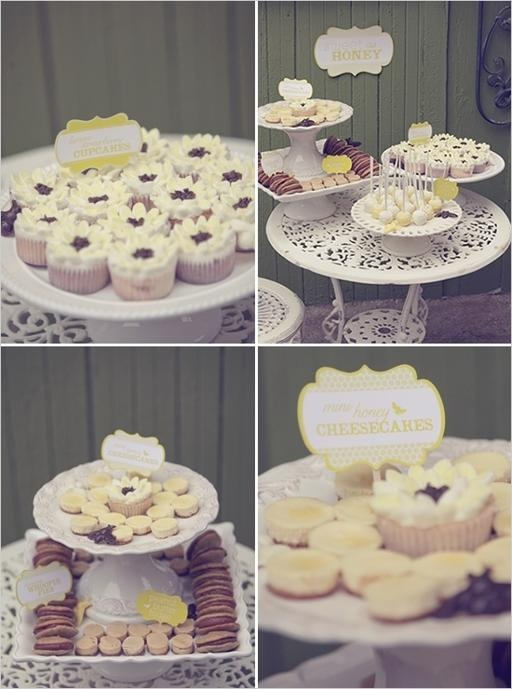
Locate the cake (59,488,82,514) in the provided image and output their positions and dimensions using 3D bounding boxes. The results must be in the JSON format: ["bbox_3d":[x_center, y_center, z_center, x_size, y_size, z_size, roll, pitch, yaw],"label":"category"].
[{"bbox_3d":[-0.487,0.411,1.807,0.061,0.029,0.127,-9,21,-12],"label":"cake"}]

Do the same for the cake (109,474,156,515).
[{"bbox_3d":[-0.335,0.400,1.805,0.091,0.055,0.093,1,4,0],"label":"cake"}]

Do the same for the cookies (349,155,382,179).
[{"bbox_3d":[0.294,-0.490,1.884,0.087,0.082,0.028,-1,-12,-2],"label":"cookies"}]

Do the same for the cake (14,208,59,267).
[{"bbox_3d":[-0.542,-0.258,1.678,0.104,0.098,0.100,-25,51,-31],"label":"cake"}]

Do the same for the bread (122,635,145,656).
[{"bbox_3d":[-0.319,0.793,1.777,0.052,0.035,0.057,-5,21,-1],"label":"bread"}]

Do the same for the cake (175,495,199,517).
[{"bbox_3d":[-0.187,0.427,1.810,0.066,0.023,0.095,-7,20,-7],"label":"cake"}]

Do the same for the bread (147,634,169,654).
[{"bbox_3d":[-0.260,0.790,1.786,0.045,0.025,0.042,6,23,-2],"label":"bread"}]

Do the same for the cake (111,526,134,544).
[{"bbox_3d":[-0.329,0.469,1.677,0.047,0.020,0.086,-9,21,-13],"label":"cake"}]

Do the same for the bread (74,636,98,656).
[{"bbox_3d":[-0.437,0.789,1.767,0.057,0.024,0.049,-1,21,10],"label":"bread"}]

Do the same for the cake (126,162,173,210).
[{"bbox_3d":[-0.277,-0.429,1.840,0.133,0.103,0.124,-11,46,-16],"label":"cake"}]

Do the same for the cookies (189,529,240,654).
[{"bbox_3d":[-0.123,0.713,1.924,0.146,0.151,0.381,35,16,-17],"label":"cookies"}]

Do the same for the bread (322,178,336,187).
[{"bbox_3d":[0.195,-0.442,1.846,0.040,0.021,0.078,-2,20,6],"label":"bread"}]

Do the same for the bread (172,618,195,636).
[{"bbox_3d":[-0.196,0.770,1.845,0.057,0.014,0.058,-2,20,6],"label":"bread"}]

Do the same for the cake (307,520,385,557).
[{"bbox_3d":[0.232,0.506,1.770,0.132,0.017,0.087,2,29,10],"label":"cake"}]

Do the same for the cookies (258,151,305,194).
[{"bbox_3d":[0.070,-0.473,1.880,0.109,0.050,0.151,-1,33,1],"label":"cookies"}]

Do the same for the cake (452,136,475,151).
[{"bbox_3d":[0.589,-0.579,1.965,0.060,0.017,0.061,24,39,34],"label":"cake"}]

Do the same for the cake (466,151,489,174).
[{"bbox_3d":[0.605,-0.503,1.894,0.063,0.053,0.060,-4,32,6],"label":"cake"}]

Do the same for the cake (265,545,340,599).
[{"bbox_3d":[0.116,0.594,1.766,0.155,0.048,0.151,4,11,15],"label":"cake"}]

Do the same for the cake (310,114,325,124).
[{"bbox_3d":[0.164,-0.610,1.838,0.035,0.023,0.045,11,25,35],"label":"cake"}]

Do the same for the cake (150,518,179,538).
[{"bbox_3d":[-0.228,0.456,1.692,0.064,0.023,0.094,-9,21,-12],"label":"cake"}]

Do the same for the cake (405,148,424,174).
[{"bbox_3d":[0.437,-0.508,1.903,0.055,0.065,0.087,-1,21,12],"label":"cake"}]

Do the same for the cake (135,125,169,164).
[{"bbox_3d":[-0.271,-0.528,1.797,0.086,0.088,0.059,-12,22,-18],"label":"cake"}]

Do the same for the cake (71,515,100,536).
[{"bbox_3d":[-0.424,0.446,1.684,0.071,0.022,0.081,-1,21,10],"label":"cake"}]

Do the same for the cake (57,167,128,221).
[{"bbox_3d":[-0.405,-0.387,1.758,0.161,0.121,0.105,-8,21,-10],"label":"cake"}]

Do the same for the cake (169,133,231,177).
[{"bbox_3d":[-0.160,-0.503,1.807,0.164,0.101,0.050,5,24,25],"label":"cake"}]

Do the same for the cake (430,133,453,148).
[{"bbox_3d":[0.543,-0.597,1.984,0.057,0.016,0.054,-7,36,-3],"label":"cake"}]

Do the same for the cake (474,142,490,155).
[{"bbox_3d":[0.651,-0.564,1.953,0.037,0.016,0.044,3,23,6],"label":"cake"}]

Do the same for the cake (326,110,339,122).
[{"bbox_3d":[0.203,-0.620,1.840,0.036,0.030,0.049,4,22,21],"label":"cake"}]

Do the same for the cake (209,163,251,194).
[{"bbox_3d":[-0.066,-0.439,1.783,0.103,0.033,0.092,-6,60,1],"label":"cake"}]

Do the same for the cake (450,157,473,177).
[{"bbox_3d":[0.559,-0.489,1.870,0.054,0.032,0.051,0,12,-14],"label":"cake"}]

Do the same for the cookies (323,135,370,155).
[{"bbox_3d":[0.245,-0.575,1.964,0.111,0.046,0.081,-1,21,8],"label":"cookies"}]

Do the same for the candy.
[{"bbox_3d":[0.369,-0.357,1.768,0.177,0.078,0.170,-5,43,-3],"label":"candy"}]

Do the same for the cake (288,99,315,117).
[{"bbox_3d":[0.126,-0.641,1.853,0.078,0.047,0.059,-2,21,6],"label":"cake"}]

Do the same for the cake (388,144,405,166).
[{"bbox_3d":[0.398,-0.537,1.932,0.022,0.059,0.047,-8,23,-45],"label":"cake"}]

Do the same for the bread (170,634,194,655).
[{"bbox_3d":[-0.196,0.793,1.793,0.064,0.029,0.059,-1,21,10],"label":"bread"}]

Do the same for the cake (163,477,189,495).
[{"bbox_3d":[-0.228,0.402,1.911,0.071,0.020,0.093,-8,20,-10],"label":"cake"}]

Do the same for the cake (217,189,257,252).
[{"bbox_3d":[-0.036,-0.314,1.701,0.142,0.121,0.134,-6,32,-6],"label":"cake"}]

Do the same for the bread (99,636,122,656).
[{"bbox_3d":[-0.379,0.782,1.758,0.040,0.023,0.038,10,10,-4],"label":"bread"}]

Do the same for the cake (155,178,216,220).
[{"bbox_3d":[-0.186,-0.375,1.748,0.142,0.052,0.126,0,46,1],"label":"cake"}]
